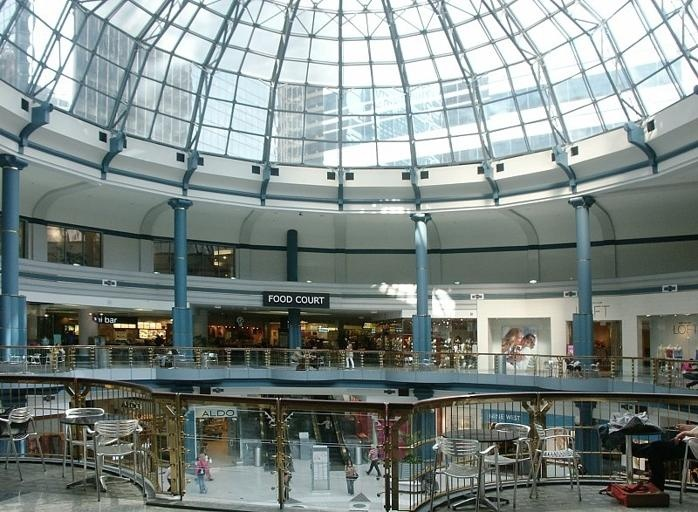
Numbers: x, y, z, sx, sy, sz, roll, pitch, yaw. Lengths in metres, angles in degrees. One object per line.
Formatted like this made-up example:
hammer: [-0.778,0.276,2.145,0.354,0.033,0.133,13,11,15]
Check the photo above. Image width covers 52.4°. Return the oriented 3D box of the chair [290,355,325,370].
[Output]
chair: [-1.893,5.004,33.283,1.111,0.439,0.814,-1,-4,9]

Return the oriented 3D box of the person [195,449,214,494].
person: [-2.710,4.063,13.319,0.279,0.789,0.438,4,-13,-19]
